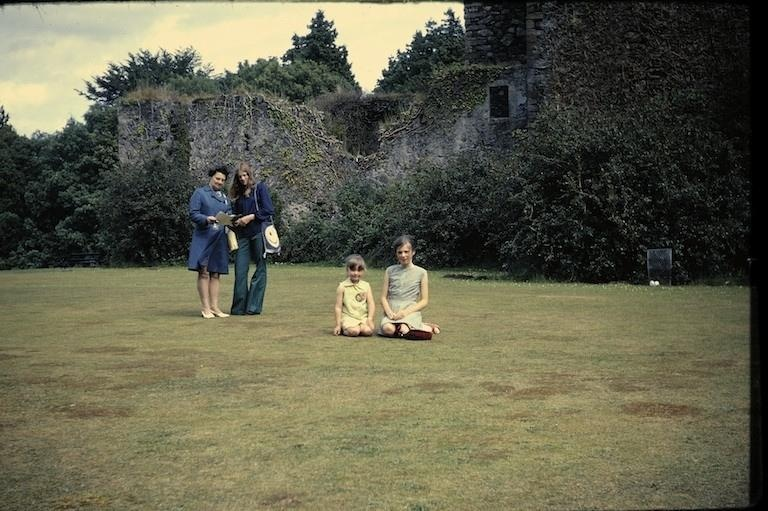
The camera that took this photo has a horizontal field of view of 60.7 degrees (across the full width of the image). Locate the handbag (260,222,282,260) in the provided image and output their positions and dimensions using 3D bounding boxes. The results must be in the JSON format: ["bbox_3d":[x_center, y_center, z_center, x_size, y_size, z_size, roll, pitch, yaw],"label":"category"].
[{"bbox_3d":[-2.009,-0.238,11.180,0.171,0.603,0.430,-11,-10,43],"label":"handbag"}]

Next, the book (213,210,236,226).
[{"bbox_3d":[-2.543,-0.589,10.603,0.344,0.232,0.132,-4,10,-24],"label":"book"}]

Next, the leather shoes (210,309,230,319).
[{"bbox_3d":[-2.700,0.962,10.847,0.239,0.049,0.125,11,8,28],"label":"leather shoes"}]

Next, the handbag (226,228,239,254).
[{"bbox_3d":[-2.492,-0.249,10.822,0.171,0.458,0.371,-18,10,-8],"label":"handbag"}]

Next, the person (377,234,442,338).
[{"bbox_3d":[0.326,0.439,9.201,0.802,1.405,0.769,-1,9,-1],"label":"person"}]

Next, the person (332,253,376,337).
[{"bbox_3d":[-0.440,0.576,9.310,0.577,1.166,0.502,-1,10,-5],"label":"person"}]

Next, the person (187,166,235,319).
[{"bbox_3d":[-2.824,-0.202,10.727,0.655,2.485,0.781,-3,10,-12],"label":"person"}]
